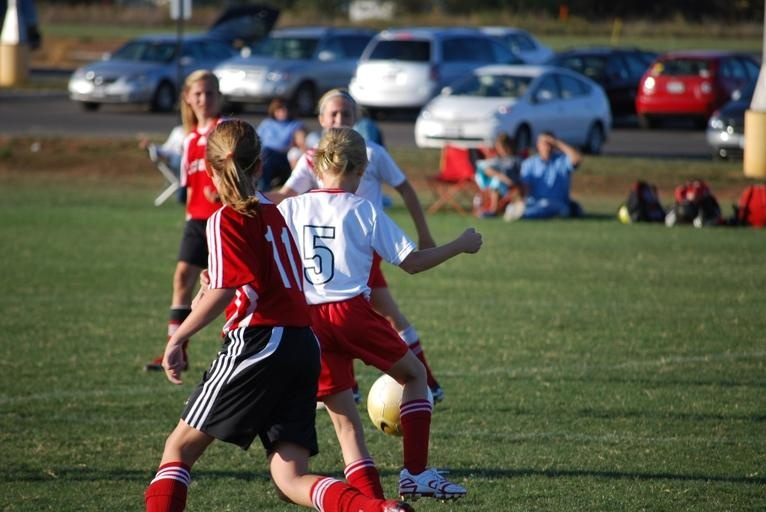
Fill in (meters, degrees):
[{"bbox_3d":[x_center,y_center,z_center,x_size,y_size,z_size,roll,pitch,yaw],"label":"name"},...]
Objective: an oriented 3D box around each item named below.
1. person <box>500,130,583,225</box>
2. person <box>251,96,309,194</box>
[{"bbox_3d":[1.418,-0.752,14.756,0.610,0.770,0.446,-5,17,-9],"label":"person"},{"bbox_3d":[-1.312,-1.442,21.210,0.516,1.205,0.608,-1,0,-5],"label":"person"}]
